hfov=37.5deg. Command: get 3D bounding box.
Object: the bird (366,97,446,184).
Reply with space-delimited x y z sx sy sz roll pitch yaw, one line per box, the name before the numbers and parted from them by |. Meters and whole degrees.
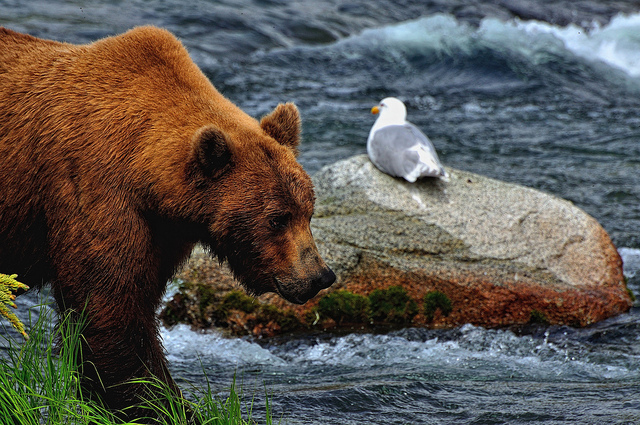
bird | 1.068 -0.952 12.571 0.792 0.859 1.309 -21 37 -38
